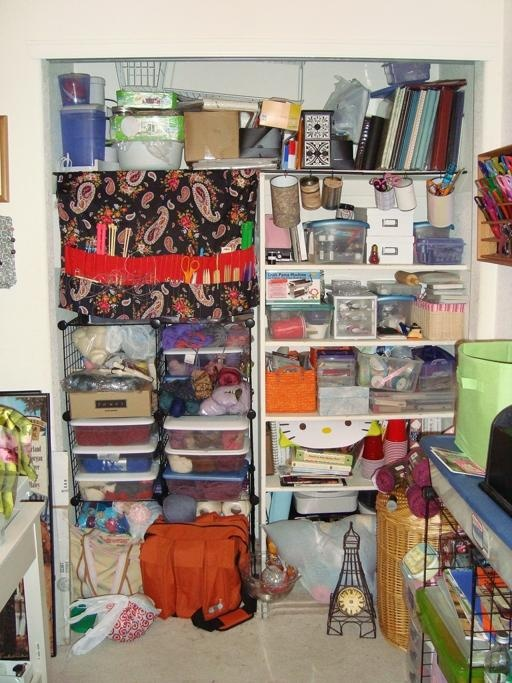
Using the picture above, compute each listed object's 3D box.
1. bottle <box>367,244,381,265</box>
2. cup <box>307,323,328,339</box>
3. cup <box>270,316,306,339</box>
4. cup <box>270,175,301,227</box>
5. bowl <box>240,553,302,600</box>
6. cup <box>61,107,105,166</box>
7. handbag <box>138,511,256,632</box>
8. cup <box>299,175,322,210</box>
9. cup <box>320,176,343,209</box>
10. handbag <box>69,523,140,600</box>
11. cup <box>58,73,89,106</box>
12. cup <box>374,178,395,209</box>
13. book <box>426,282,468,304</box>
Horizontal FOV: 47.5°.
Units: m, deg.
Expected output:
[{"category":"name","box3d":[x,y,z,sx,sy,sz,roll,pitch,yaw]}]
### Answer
[{"category":"bottle","box3d":[0.538,-0.397,2.650,0.052,0.092,0.080,2,9,12]},{"category":"cup","box3d":[0.289,-0.048,2.733,0.093,0.059,0.061,-3,9,-6]},{"category":"cup","box3d":[0.153,-0.055,2.708,0.168,0.111,0.120,-4,-16,-5]},{"category":"cup","box3d":[0.127,-0.620,2.587,0.125,0.224,0.165,1,9,6]},{"category":"bowl","box3d":[0.064,1.050,2.545,0.175,0.102,0.173,0,18,0]},{"category":"cup","box3d":[-0.730,-0.944,2.657,0.242,0.294,0.229,2,24,-1]},{"category":"handbag","box3d":[-0.249,0.987,2.673,0.520,0.470,0.413,0,0,1]},{"category":"cup","box3d":[0.245,-0.683,2.656,0.098,0.142,0.152,1,9,6]},{"category":"cup","box3d":[0.346,-0.691,2.702,0.089,0.146,0.198,1,9,6]},{"category":"handbag","box3d":[-0.681,1.000,2.629,0.318,0.281,0.189,-2,9,-8]},{"category":"cup","box3d":[-0.783,-1.118,2.577,0.157,0.117,0.137,-2,25,-10]},{"category":"cup","box3d":[0.589,-0.679,2.650,0.083,0.115,0.085,-8,48,9]},{"category":"book","box3d":[0.894,-0.225,2.704,0.190,0.093,0.111,1,9,5]}]
